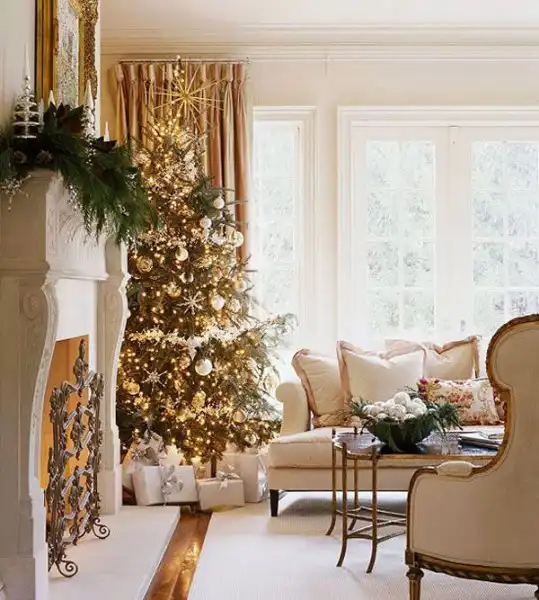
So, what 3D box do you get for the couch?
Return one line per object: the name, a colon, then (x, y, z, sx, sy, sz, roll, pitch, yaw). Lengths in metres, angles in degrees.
couch: (0.364, 0.837, 3.711, 1.258, 0.643, 0.650, 0, -13, -2)
